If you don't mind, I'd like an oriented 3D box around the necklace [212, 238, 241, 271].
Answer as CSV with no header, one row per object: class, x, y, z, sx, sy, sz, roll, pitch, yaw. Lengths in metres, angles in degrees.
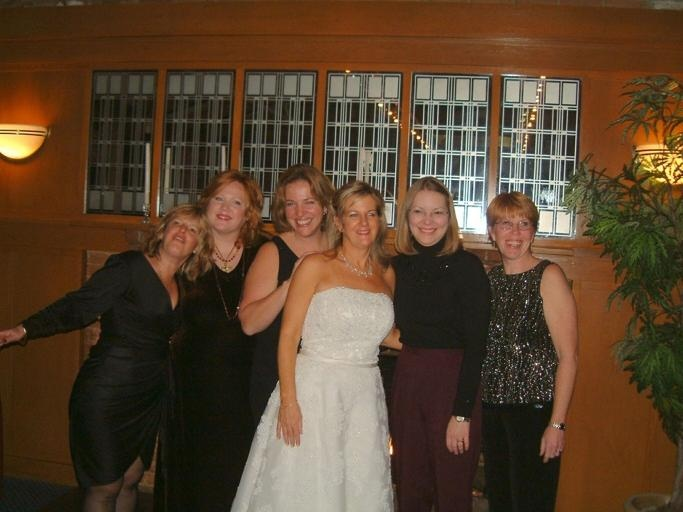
necklace,-0.827,-0.001,4.460,0.226,0.253,0.026,1,-24,-8
